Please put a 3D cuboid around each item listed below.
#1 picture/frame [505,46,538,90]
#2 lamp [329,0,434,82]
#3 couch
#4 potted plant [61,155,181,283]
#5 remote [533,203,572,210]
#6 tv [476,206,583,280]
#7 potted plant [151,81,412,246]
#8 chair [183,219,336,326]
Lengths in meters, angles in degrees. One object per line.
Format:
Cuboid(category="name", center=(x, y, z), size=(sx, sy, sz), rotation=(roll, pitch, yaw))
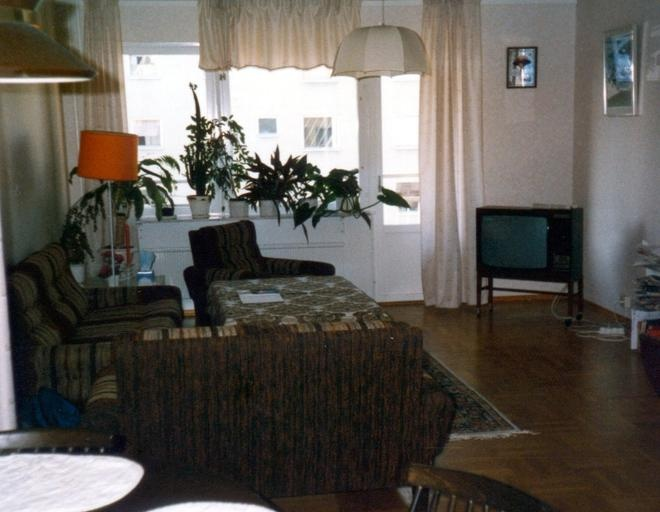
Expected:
Cuboid(category="picture/frame", center=(1.834, -1.831, 5.914), size=(0.406, 0.493, 0.038), rotation=(-1, 6, -6))
Cuboid(category="lamp", center=(0.272, -1.129, 3.355), size=(0.379, 0.379, 0.392), rotation=(7, 12, 35))
Cuboid(category="couch", center=(-0.421, 0.523, 2.578), size=(1.359, 0.612, 1.412), rotation=(-4, 12, -17))
Cuboid(category="potted plant", center=(-1.671, -0.294, 4.991), size=(0.845, 1.005, 0.780), rotation=(-5, -9, -17))
Cuboid(category="remote", center=(1.869, -0.422, 5.234), size=(0.271, 0.022, 0.349), rotation=(0, 10, 11))
Cuboid(category="tv", center=(1.776, 0.029, 5.465), size=(0.931, 0.692, 0.629), rotation=(2, 3, 29))
Cuboid(category="potted plant", center=(-0.538, -0.952, 6.204), size=(2.524, 1.581, 1.042), rotation=(-1, 11, -8))
Cuboid(category="chair", center=(-0.562, 0.168, 4.859), size=(1.041, 0.767, 1.029), rotation=(7, 12, 17))
